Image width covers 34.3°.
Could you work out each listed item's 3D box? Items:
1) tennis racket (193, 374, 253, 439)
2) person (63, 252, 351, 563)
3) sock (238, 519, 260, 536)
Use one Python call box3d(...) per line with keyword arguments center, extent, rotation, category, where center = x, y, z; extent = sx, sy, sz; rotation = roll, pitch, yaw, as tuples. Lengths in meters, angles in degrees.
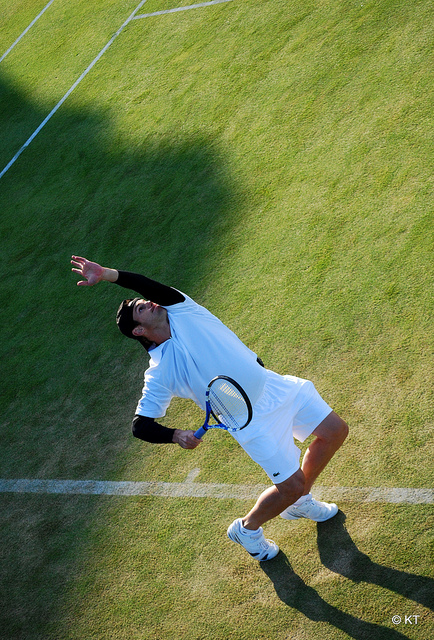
box3d(center=(-0.033, 0.485, 4.006), extent=(0.286, 0.637, 0.059), rotation=(-22, 58, 21), category="tennis racket")
box3d(center=(0.136, 0.547, 4.192), extent=(0.967, 2.289, 0.907), rotation=(-42, 17, -18), category="person")
box3d(center=(0.170, 1.268, 4.282), extent=(0.127, 0.070, 0.074), rotation=(26, 70, 34), category="sock")
